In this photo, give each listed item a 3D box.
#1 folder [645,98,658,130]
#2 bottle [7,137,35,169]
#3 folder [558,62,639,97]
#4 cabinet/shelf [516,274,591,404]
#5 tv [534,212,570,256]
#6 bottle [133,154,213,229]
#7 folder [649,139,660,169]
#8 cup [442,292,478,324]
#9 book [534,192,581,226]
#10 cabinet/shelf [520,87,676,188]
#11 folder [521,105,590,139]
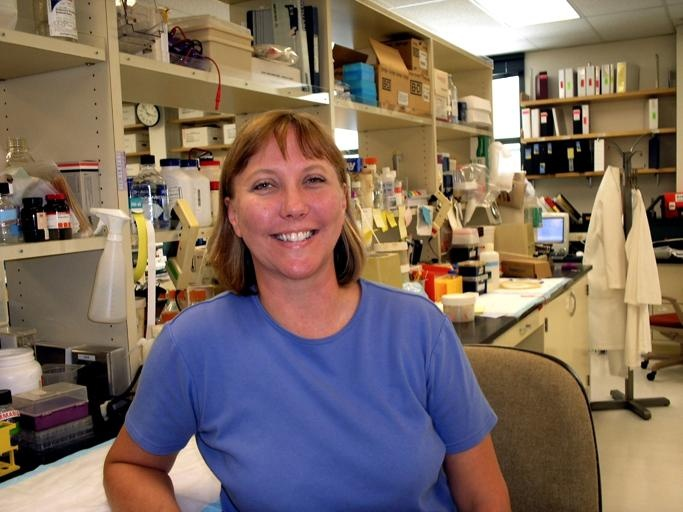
[{"bbox_3d":[3.517,-1.640,6.235,0.101,0.345,0.337,-1,6,6],"label":"folder"},{"bbox_3d":[-0.969,-0.316,1.646,0.070,0.096,0.195,-6,7,-30],"label":"bottle"},{"bbox_3d":[3.005,-2.086,6.442,0.862,0.383,0.362,1,7,25],"label":"folder"},{"bbox_3d":[0.989,0.357,2.593,0.277,0.777,0.771,-1,2,25],"label":"cabinet/shelf"},{"bbox_3d":[1.911,-0.207,5.012,0.345,0.566,0.291,0,-3,18],"label":"tv"},{"bbox_3d":[-0.647,-0.227,2.029,0.179,0.358,0.299,-4,-4,43],"label":"bottle"},{"bbox_3d":[3.601,-1.218,6.328,0.129,0.380,0.297,1,7,30],"label":"folder"},{"bbox_3d":[0.532,0.231,2.484,0.156,0.132,0.169,0,0,0],"label":"cup"},{"bbox_3d":[2.299,-0.506,5.827,0.358,0.139,0.356,33,-10,33],"label":"book"},{"bbox_3d":[3.097,-1.467,6.512,1.569,1.042,0.430,1,6,27],"label":"cabinet/shelf"},{"bbox_3d":[2.573,-1.657,6.676,0.690,0.435,0.723,0,1,27],"label":"folder"}]
